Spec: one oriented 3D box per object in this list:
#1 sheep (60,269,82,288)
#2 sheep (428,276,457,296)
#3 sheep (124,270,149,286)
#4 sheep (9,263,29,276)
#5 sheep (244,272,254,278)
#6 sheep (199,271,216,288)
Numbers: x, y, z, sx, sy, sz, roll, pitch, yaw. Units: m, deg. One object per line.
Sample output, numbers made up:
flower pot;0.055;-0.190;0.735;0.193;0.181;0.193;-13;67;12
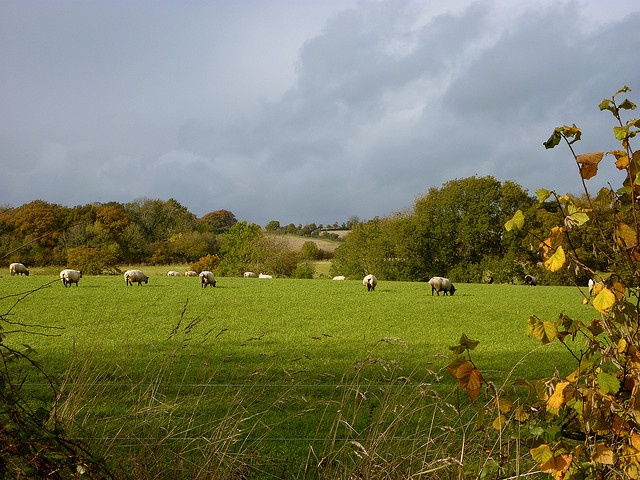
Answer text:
sheep;-11.695;1.812;31.961;0.739;0.842;2.939;0;-4;-19
sheep;5.666;2.148;31.587;1.117;0.812;2.667;-2;-4;9
sheep;-9.355;1.944;34.599;0.981;0.776;3.312;0;-4;-15
sheep;-19.333;1.869;43.684;0.842;0.812;2.705;0;-4;-19
sheep;-5.550;2.780;53.849;0.830;0.467;0.429;-4;-1;-35
sheep;-5.580;1.971;33.857;0.666;0.783;2.089;0;-4;-9
